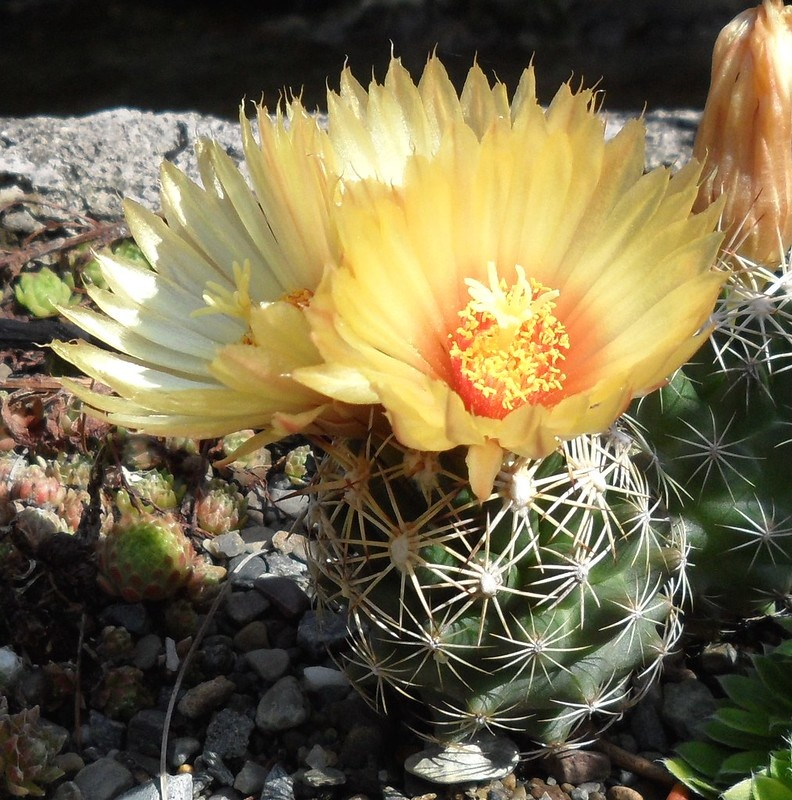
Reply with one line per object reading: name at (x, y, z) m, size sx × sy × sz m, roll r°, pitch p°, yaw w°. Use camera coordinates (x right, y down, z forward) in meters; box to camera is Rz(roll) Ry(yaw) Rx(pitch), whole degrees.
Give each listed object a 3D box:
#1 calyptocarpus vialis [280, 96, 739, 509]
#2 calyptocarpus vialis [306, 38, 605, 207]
calyptocarpus vialis at (0.171, -0.146, 1.110) m, size 0.517 × 0.449 × 0.183 m, roll 8°, pitch 80°, yaw 5°
calyptocarpus vialis at (0.059, -0.324, 1.055) m, size 0.287 × 0.091 × 0.241 m, roll -11°, pitch 33°, yaw -22°
